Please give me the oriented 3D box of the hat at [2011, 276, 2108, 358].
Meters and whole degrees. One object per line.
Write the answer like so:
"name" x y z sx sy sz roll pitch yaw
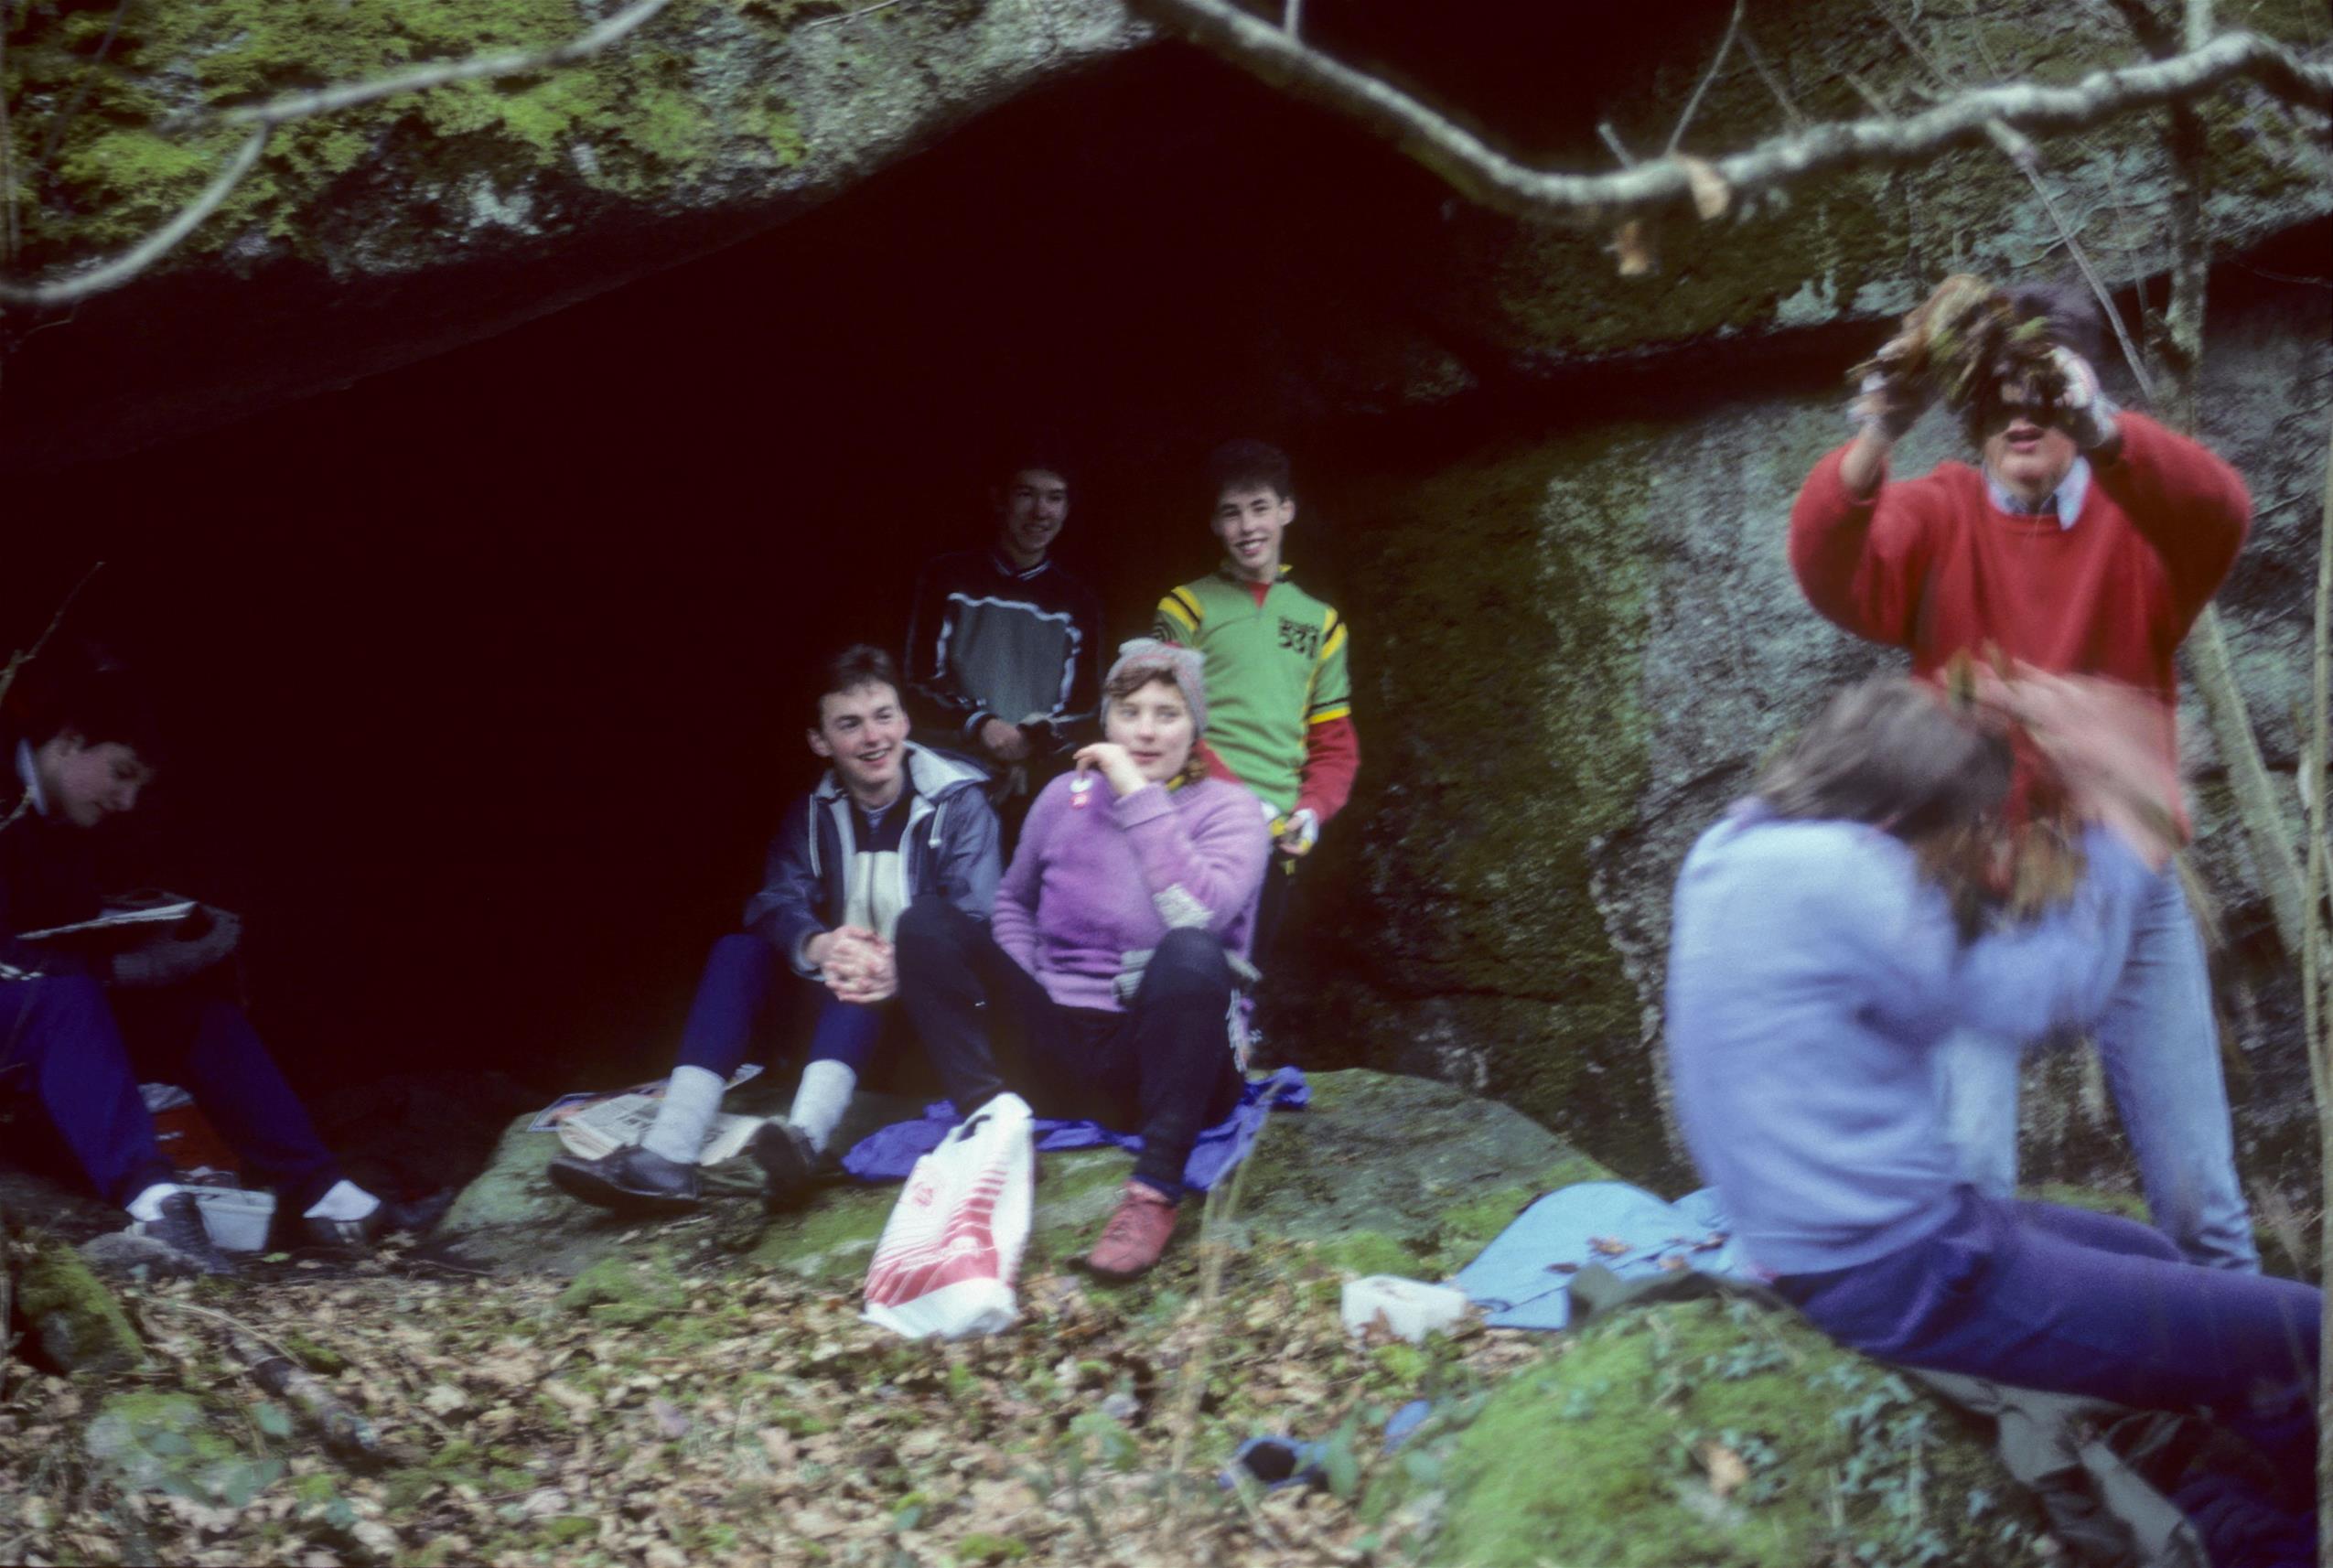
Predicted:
"hat" 2.139 -1.109 4.846 0.243 0.112 0.187 32 38 -7

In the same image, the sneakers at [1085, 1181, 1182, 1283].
"sneakers" -0.048 1.092 4.858 0.135 0.124 0.343 8 1 26

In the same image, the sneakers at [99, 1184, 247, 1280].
"sneakers" -2.511 1.111 4.974 0.271 0.202 0.187 -7 19 -26

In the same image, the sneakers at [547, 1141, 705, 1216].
"sneakers" -1.408 1.022 5.205 0.310 0.110 0.184 4 9 -17
